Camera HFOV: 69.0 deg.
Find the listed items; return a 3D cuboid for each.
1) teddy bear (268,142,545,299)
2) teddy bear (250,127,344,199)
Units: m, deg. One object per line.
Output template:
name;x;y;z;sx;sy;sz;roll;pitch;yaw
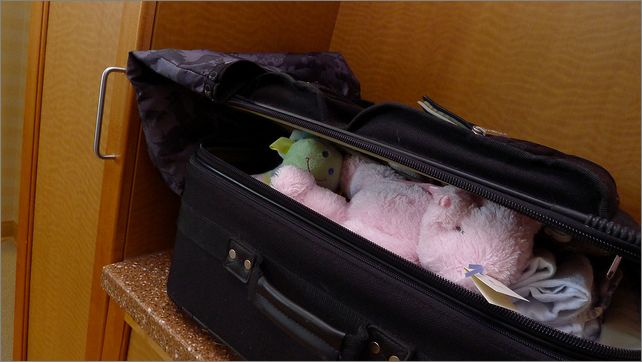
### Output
teddy bear;0.245;0.101;1.431;0.693;0.204;0.363;30;11;18
teddy bear;-0.055;-0.060;1.583;0.233;0.212;0.209;29;64;31
